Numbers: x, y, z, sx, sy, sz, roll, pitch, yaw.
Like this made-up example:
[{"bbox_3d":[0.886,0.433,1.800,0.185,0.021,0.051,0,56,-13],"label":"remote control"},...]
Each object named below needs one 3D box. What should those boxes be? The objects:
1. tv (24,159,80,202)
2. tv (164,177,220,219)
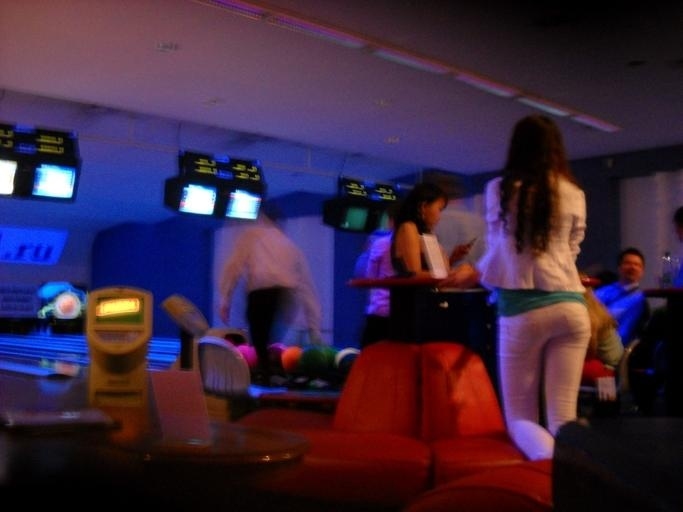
[{"bbox_3d":[-2.955,-0.743,5.959,0.459,0.453,0.323,4,20,-24],"label":"tv"},{"bbox_3d":[-1.693,-0.647,6.707,0.782,0.405,0.507,4,-5,-41],"label":"tv"}]
